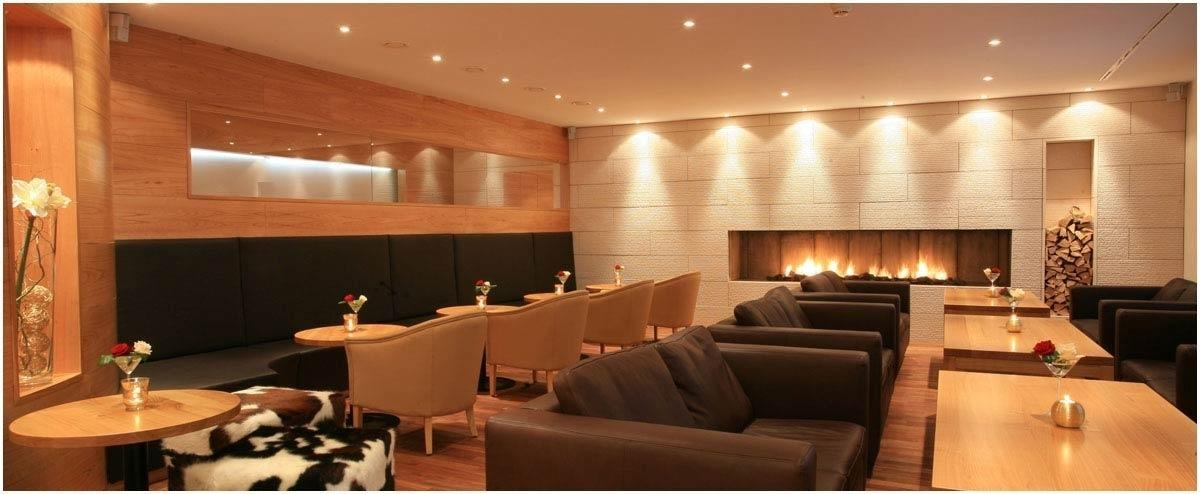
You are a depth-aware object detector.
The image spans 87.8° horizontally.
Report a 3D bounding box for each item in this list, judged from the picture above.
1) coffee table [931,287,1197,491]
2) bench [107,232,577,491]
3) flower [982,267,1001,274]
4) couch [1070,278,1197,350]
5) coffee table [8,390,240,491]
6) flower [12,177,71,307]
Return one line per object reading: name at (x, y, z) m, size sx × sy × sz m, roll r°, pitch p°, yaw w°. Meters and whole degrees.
coffee table at (5.497, 1.814, 7.600) m, size 2.381 × 1.358 × 3.675 m, roll 0°, pitch 0°, yaw 27°
bench at (-3.624, 1.560, 8.287) m, size 5.032 × 1.283 × 1.401 m, roll 0°, pitch -2°, yaw -38°
flower at (7.169, 0.422, 11.419) m, size 0.209 × 0.061 × 0.180 m, roll 0°, pitch 0°, yaw -24°
couch at (8.323, 1.040, 9.739) m, size 1.912 × 1.023 × 1.457 m, roll 0°, pitch -1°, yaw 19°
coffee table at (-5.173, 1.795, 6.846) m, size 1.960 × 0.904 × 1.732 m, roll 4°, pitch 5°, yaw 28°
flower at (-6.425, -0.123, 7.210) m, size 0.512 × 1.442 × 0.762 m, roll -1°, pitch 1°, yaw -38°
